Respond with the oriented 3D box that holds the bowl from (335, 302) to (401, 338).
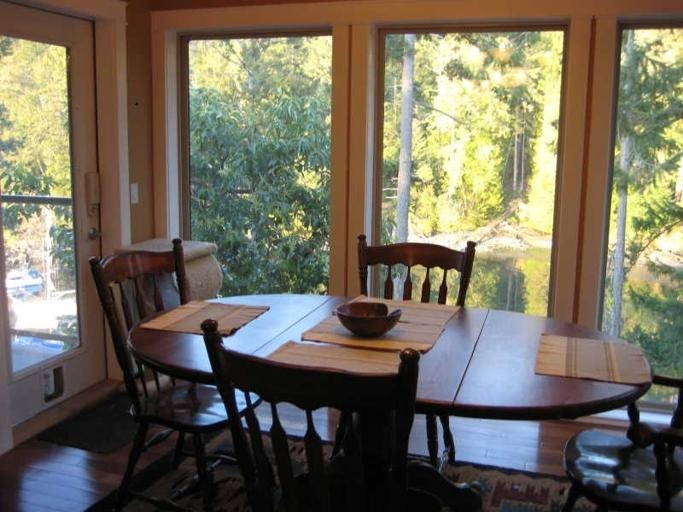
[{"bbox_3d":[0.105,0.253,2.387,0.258,0.100,0.257,0,9,0],"label":"bowl"}]
